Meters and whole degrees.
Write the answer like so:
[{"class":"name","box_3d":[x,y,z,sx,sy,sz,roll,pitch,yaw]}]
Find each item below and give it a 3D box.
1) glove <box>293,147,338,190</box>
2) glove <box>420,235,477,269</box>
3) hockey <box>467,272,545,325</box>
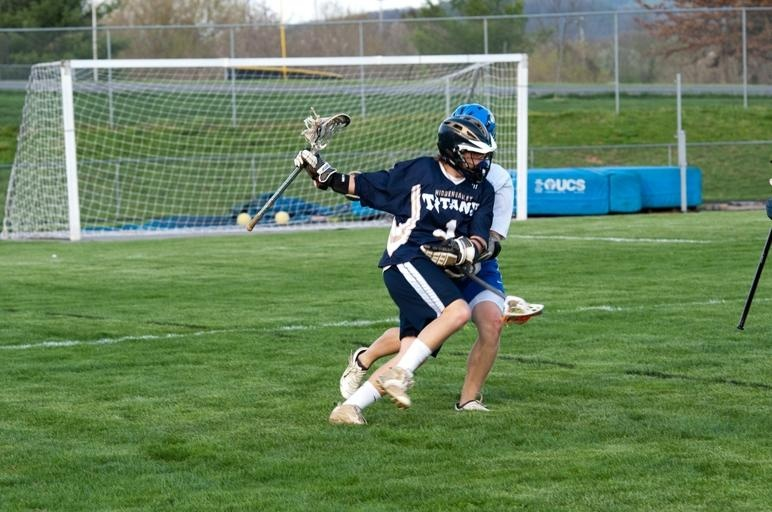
[{"class":"glove","box_3d":[-1.027,-1.309,20.108,0.492,0.658,0.314,-44,-6,-46]},{"class":"glove","box_3d":[0.935,-0.061,19.838,0.765,0.375,0.320,1,36,-2]},{"class":"hockey","box_3d":[1.841,0.625,20.055,0.523,0.232,1.382,4,18,-47]}]
